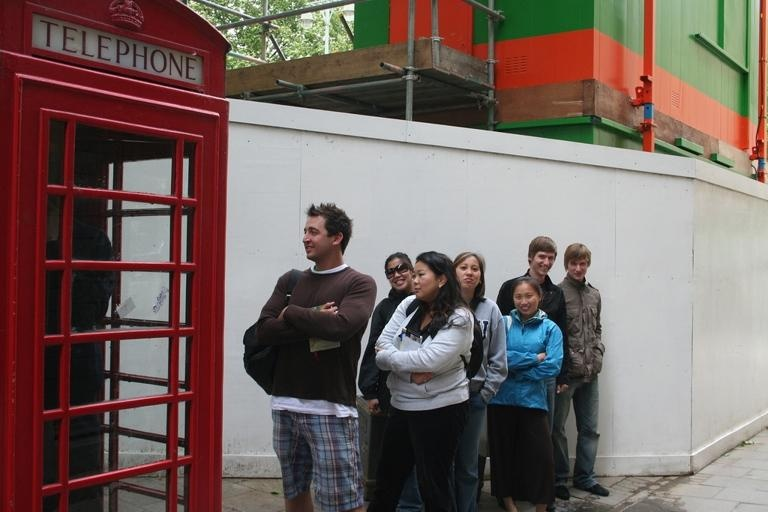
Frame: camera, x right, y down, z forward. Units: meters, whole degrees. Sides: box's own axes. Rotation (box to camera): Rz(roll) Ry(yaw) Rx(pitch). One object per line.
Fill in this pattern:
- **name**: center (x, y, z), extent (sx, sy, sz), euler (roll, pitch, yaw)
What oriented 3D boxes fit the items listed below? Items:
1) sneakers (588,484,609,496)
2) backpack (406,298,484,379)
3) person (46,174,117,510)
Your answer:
- **sneakers**: center (2.013, 2.154, 7.544), extent (0.204, 0.096, 0.139), euler (-2, -2, -13)
- **backpack**: center (0.463, 0.589, 6.223), extent (0.470, 0.649, 0.618), euler (9, 8, 14)
- **person**: center (-1.798, 0.533, 4.798), extent (0.405, 1.960, 0.180), euler (0, -2, -30)
